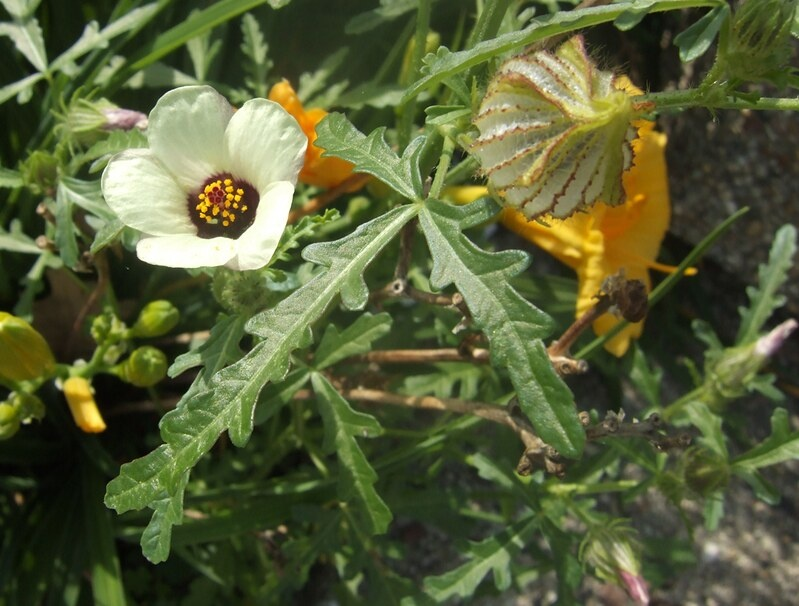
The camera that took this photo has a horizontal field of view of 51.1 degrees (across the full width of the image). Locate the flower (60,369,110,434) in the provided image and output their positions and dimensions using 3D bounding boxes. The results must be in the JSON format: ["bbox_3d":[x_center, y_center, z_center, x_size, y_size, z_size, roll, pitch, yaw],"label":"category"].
[{"bbox_3d":[-0.673,0.214,1.794,0.070,0.058,0.154,-20,81,-1],"label":"flower"}]

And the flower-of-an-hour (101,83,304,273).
[{"bbox_3d":[-0.403,-0.248,1.821,0.482,0.515,0.267,-31,96,-25],"label":"flower-of-an-hour"}]

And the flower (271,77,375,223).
[{"bbox_3d":[-0.175,-0.369,2.024,0.283,0.154,0.314,10,38,13],"label":"flower"}]

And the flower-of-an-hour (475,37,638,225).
[{"bbox_3d":[0.284,-0.254,1.587,0.239,0.267,0.133,21,80,-2],"label":"flower-of-an-hour"}]

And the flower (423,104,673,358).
[{"bbox_3d":[0.427,-0.253,2.065,0.602,0.518,0.251,22,8,-6],"label":"flower"}]

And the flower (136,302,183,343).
[{"bbox_3d":[-0.553,0.034,1.910,0.105,0.052,0.063,-34,57,14],"label":"flower"}]
